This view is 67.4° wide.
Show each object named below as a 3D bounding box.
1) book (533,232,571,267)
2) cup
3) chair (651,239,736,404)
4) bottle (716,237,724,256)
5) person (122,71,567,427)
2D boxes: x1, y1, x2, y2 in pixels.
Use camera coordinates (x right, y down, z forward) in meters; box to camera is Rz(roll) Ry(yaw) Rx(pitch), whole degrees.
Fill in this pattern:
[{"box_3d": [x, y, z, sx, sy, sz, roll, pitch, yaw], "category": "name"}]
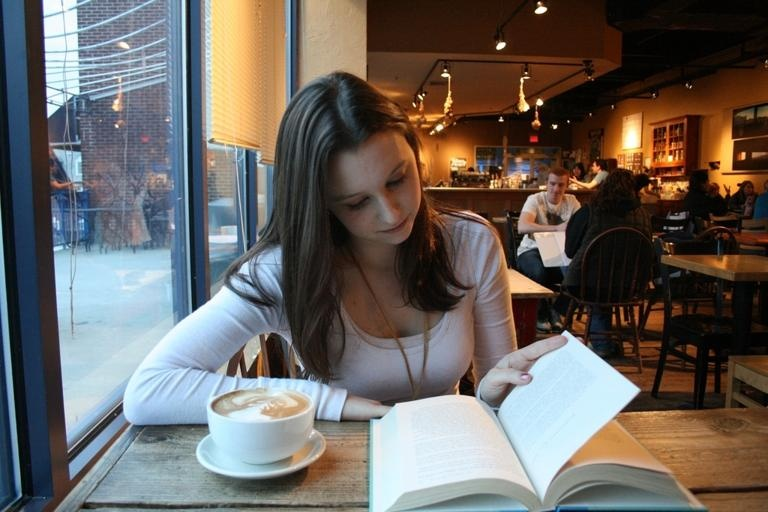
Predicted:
[{"box_3d": [1.326, -0.052, 4.535, 0.237, 0.256, 0.085, -5, -17, 20], "category": "book"}, {"box_3d": [-0.300, 0.421, 1.412, 0.253, 0.128, 0.257, 2, 5, 0], "category": "cup"}, {"box_3d": [1.822, 0.428, 3.408, 0.392, 0.822, 0.402, 5, 3, 24], "category": "chair"}, {"box_3d": [2.165, -0.059, 3.696, 0.045, 0.156, 0.060, -1, -8, 17], "category": "bottle"}, {"box_3d": [-0.138, 0.068, 1.759, 1.223, 1.143, 0.641, -6, 19, -8], "category": "person"}]
